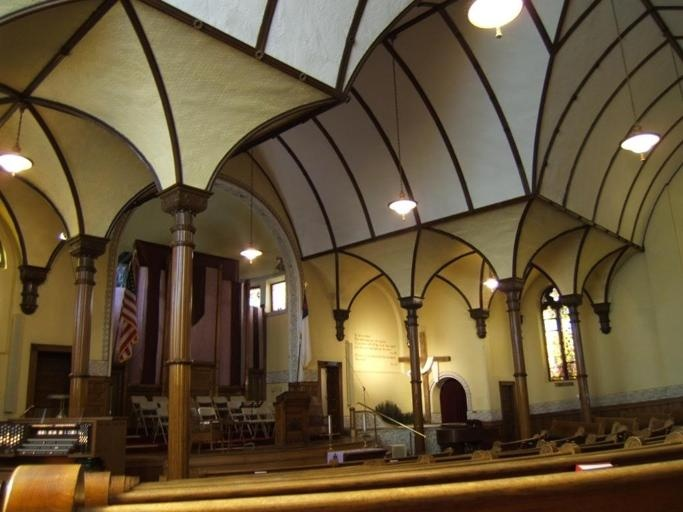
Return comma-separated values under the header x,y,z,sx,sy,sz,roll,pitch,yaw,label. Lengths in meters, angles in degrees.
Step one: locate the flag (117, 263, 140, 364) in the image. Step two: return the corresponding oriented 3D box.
x,y,z,sx,sy,sz,roll,pitch,yaw,label
-5.179,1.381,12.890,0.401,2.273,1.152,5,-19,-22,flag
